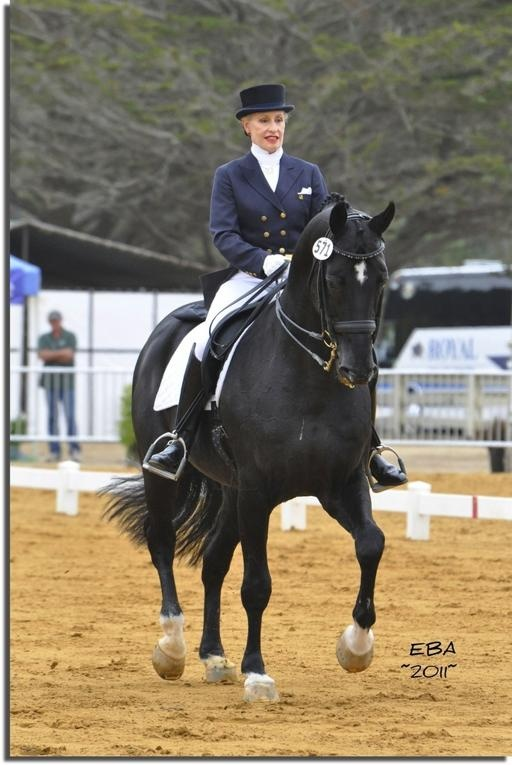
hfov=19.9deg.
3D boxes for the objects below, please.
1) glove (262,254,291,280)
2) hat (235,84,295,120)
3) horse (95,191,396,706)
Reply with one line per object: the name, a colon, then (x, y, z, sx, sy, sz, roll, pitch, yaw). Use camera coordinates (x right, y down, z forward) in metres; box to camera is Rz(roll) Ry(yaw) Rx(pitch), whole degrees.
glove: (0.107, -0.719, 9.010, 0.122, 0.159, 0.064, 12, -3, -10)
hat: (0.029, -1.772, 9.196, 0.355, 0.214, 0.309, 0, 5, 4)
horse: (-0.038, 0.409, 8.953, 1.038, 2.978, 2.624, -2, 5, -21)
